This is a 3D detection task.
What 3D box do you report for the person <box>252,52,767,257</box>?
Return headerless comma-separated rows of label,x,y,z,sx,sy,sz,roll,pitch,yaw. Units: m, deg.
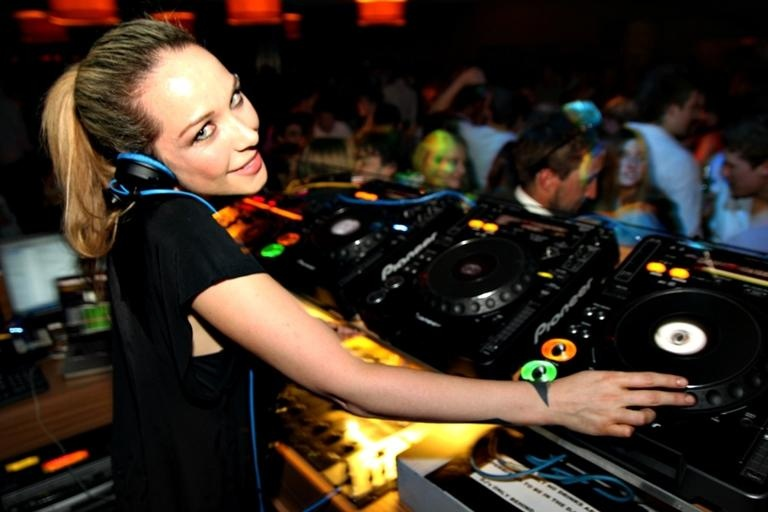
person,0.452,-0.332,2.026,1.397,0.544,0.318,15,-8,33
